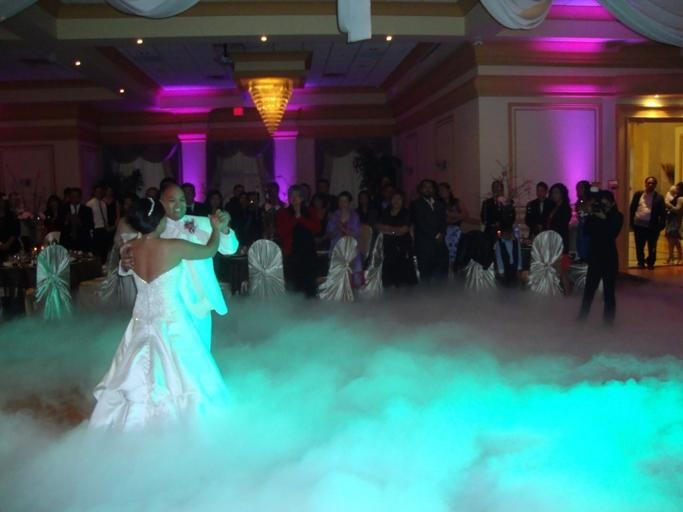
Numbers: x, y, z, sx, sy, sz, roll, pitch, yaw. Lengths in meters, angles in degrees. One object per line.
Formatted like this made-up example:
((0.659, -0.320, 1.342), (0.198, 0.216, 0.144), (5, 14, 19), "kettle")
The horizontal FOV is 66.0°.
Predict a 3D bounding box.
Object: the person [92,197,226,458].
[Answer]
((-1.406, 0.472, 3.959), (0.915, 1.769, 1.139), (0, 4, 44), "person")

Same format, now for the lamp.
((-1.457, -3.259, 10.429), (1.722, 1.639, 1.903), (-8, 21, -20), "lamp")
